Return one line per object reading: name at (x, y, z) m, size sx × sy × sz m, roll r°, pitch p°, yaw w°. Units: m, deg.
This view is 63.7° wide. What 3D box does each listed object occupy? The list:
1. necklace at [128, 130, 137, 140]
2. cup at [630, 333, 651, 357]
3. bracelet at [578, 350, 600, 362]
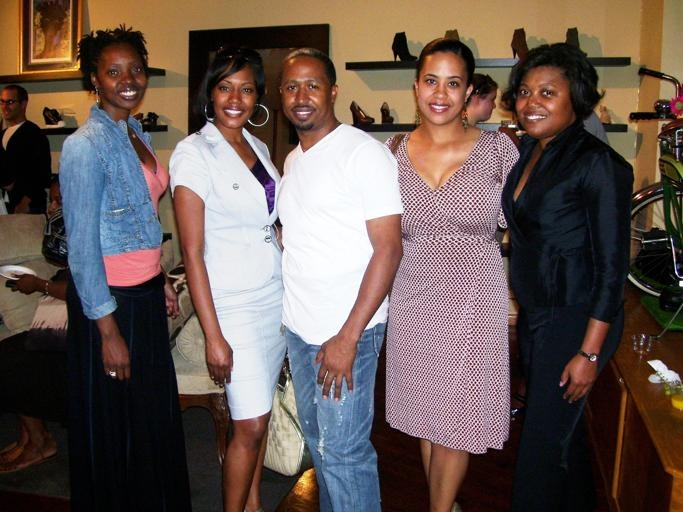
necklace at (-0.890, -0.522, 2.355) m, size 0.027 × 0.023 × 0.048 m, roll -5°, pitch 51°, yaw -31°
cup at (1.495, 0.445, 2.755) m, size 0.114 × 0.086 × 0.093 m, roll 0°, pitch 0°, yaw -40°
bracelet at (0.955, 0.377, 2.106) m, size 0.048 × 0.029 × 0.049 m, roll 21°, pitch 6°, yaw -2°
